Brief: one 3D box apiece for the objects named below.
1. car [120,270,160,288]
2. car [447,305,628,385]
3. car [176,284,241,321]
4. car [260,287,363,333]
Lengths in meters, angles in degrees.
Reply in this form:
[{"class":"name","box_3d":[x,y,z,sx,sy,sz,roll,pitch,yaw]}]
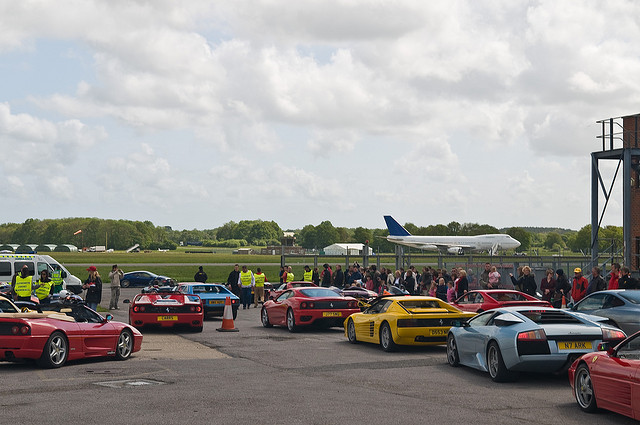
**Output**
[{"class":"car","box_3d":[-13.028,4.751,54.846,2.130,0.640,1.338,-4,3,-4]},{"class":"car","box_3d":[4.036,2.715,16.713,1.795,0.760,2.777,-2,1,-16]},{"class":"car","box_3d":[-3.977,3.135,26.631,1.387,0.746,2.512,0,1,-16]},{"class":"car","box_3d":[-0.766,3.118,25.281,1.631,0.794,2.756,-1,0,-21]}]
